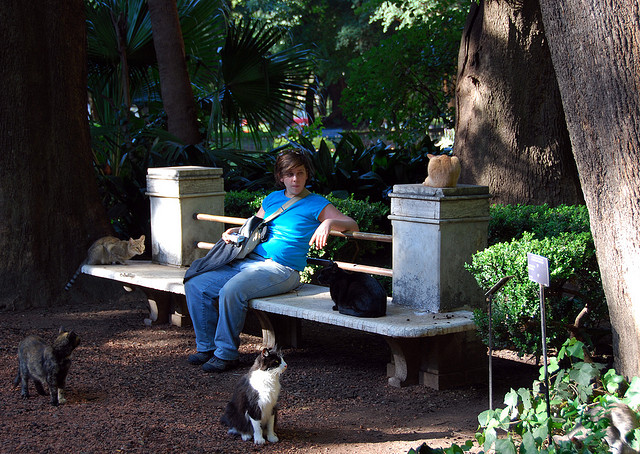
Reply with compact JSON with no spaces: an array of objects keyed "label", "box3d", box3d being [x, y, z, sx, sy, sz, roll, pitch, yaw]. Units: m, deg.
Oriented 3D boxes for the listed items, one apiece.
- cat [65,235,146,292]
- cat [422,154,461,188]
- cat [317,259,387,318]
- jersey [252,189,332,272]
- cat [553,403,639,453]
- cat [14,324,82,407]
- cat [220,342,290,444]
[{"label":"cat","box3d":[-2.842,0.320,7.740,0.957,0.535,0.314,0,14,4]},{"label":"cat","box3d":[1.115,-0.545,5.381,0.280,0.375,0.366,3,4,-7]},{"label":"cat","box3d":[0.285,0.597,5.503,0.662,0.453,0.362,9,-8,29]},{"label":"jersey","box3d":[-0.355,-0.008,6.255,0.798,0.902,0.520,9,-4,35]},{"label":"cat","box3d":[1.669,1.194,3.494,0.414,0.221,0.343,5,9,33]},{"label":"cat","box3d":[-2.407,1.206,5.184,0.682,0.679,0.232,4,8,29]},{"label":"cat","box3d":[-0.518,1.262,4.463,0.507,0.725,0.222,3,8,23]}]
